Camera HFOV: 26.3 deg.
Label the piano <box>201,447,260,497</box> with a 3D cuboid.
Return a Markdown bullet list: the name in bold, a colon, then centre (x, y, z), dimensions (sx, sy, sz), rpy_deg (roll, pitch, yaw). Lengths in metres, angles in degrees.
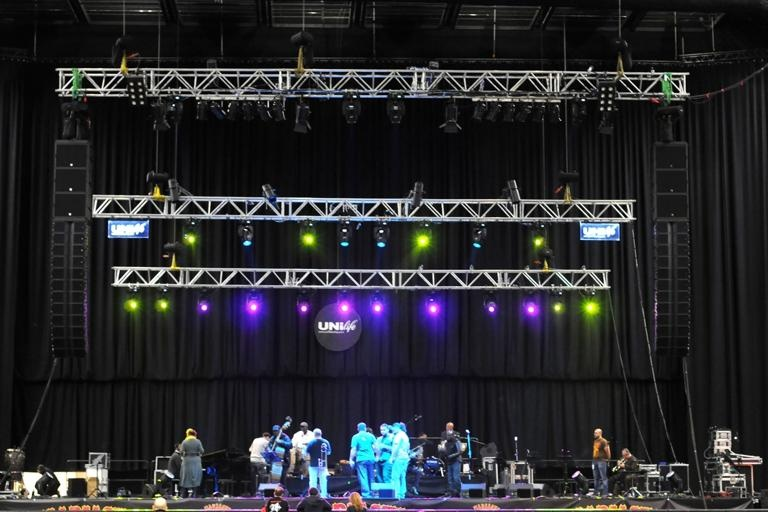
- **piano**: centre (-4.748, 6.501, 49.822), dimensions (1.474, 1.696, 1.734), rpy_deg (1, -15, -2)

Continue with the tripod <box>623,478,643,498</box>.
- **tripod**: centre (7.390, 6.863, 48.681), dimensions (0.514, 0.491, 0.486), rpy_deg (-3, -23, 10)
